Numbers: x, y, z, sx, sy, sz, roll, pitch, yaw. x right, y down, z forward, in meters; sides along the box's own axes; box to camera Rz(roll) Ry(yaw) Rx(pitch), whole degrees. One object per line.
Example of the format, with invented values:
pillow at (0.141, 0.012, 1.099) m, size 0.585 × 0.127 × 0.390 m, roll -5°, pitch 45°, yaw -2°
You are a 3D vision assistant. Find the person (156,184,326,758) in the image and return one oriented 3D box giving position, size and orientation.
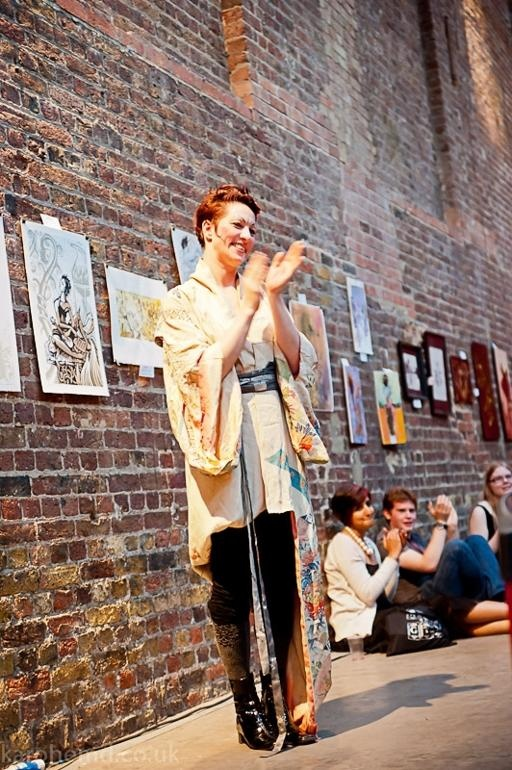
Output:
person at (-0.028, 0.263, 1.767) m, size 0.598 × 2.107 × 0.378 m, roll -8°, pitch -6°, yaw 1°

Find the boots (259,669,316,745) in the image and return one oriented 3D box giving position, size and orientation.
boots at (0.104, 1.185, 1.731) m, size 0.089 × 0.207 × 0.270 m, roll 10°, pitch -24°, yaw -43°

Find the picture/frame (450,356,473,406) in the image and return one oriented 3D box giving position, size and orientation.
picture/frame at (2.948, -0.049, 6.930) m, size 0.071 × 0.753 × 0.639 m, roll -12°, pitch -10°, yaw 31°

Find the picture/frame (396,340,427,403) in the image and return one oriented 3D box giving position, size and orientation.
picture/frame at (1.843, -0.148, 5.738) m, size 0.075 × 0.769 × 0.677 m, roll -6°, pitch -6°, yaw 27°

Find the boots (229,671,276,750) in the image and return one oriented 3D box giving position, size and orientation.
boots at (0.003, 1.200, 1.741) m, size 0.095 × 0.233 × 0.221 m, roll 13°, pitch -25°, yaw -39°
